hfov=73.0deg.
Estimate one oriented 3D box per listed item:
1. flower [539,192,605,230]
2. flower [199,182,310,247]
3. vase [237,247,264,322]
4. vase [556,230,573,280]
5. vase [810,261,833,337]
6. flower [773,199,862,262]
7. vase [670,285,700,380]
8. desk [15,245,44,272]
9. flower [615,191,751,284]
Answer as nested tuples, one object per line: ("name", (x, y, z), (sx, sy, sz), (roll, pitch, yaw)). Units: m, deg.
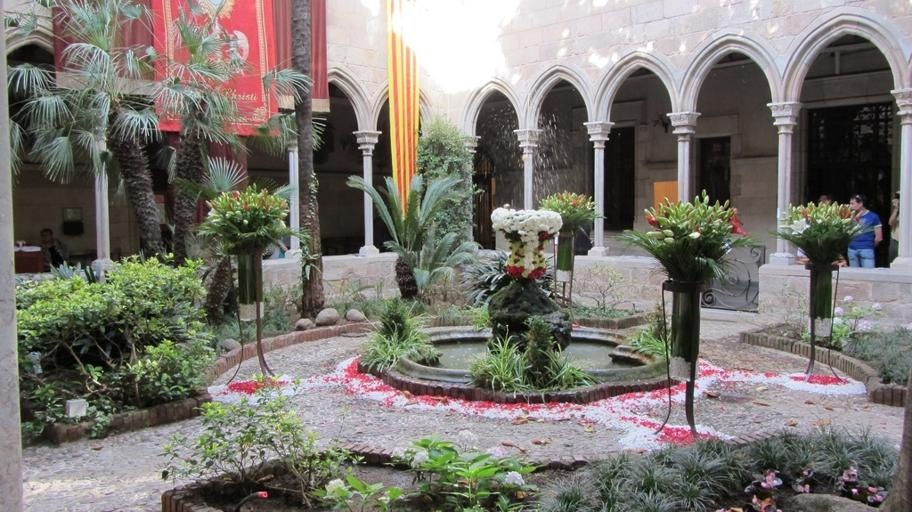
("flower", (2.070, -0.845, 11.288), (1.111, 0.772, 1.102), (3, 7, 16))
("flower", (-2.960, -0.414, 8.739), (1.254, 0.776, 1.258), (-4, -1, -1))
("vase", (-2.866, 0.433, 8.594), (0.326, 0.956, 0.351), (-2, 4, -13))
("vase", (1.861, 0.018, 10.582), (0.272, 0.822, 0.449), (-1, 4, 9))
("vase", (5.024, 0.520, 8.444), (0.289, 0.758, 0.284), (-2, 1, 27))
("flower", (5.025, -0.384, 8.553), (0.976, 0.658, 0.928), (-2, 9, 3))
("vase", (2.445, 0.812, 6.603), (0.284, 1.019, 0.147), (-1, 4, 18))
("desk", (-9.250, 0.091, 13.402), (0.620, 0.562, 0.448), (0, -1, -40))
("flower", (2.630, -0.222, 6.877), (1.150, 0.786, 1.143), (-8, 11, -28))
